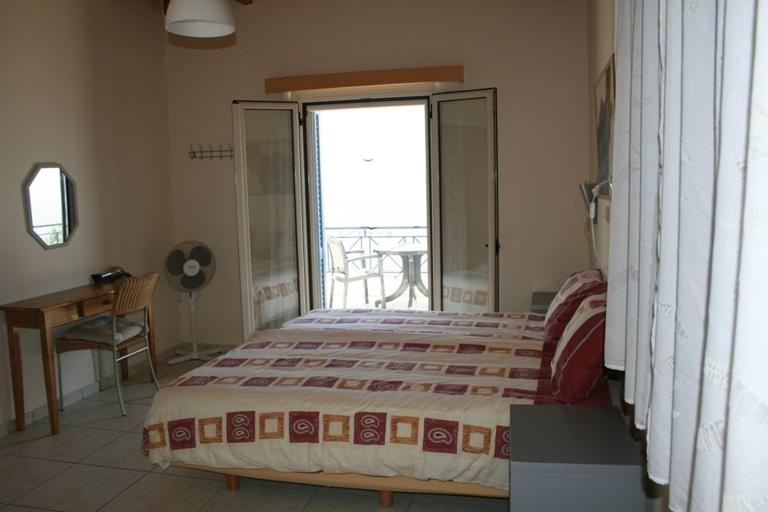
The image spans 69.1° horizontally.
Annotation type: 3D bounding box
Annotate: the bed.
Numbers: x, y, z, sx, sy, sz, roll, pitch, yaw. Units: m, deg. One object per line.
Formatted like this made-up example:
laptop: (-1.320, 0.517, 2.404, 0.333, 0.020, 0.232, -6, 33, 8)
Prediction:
bed: (-0.256, 0.828, 3.210, 1.576, 0.364, 1.600, 1, 6, 16)

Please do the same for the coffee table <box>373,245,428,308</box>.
coffee table: (0.369, 0.269, 7.490, 0.941, 0.718, 0.919, -2, 4, 34)

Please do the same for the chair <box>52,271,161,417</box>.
chair: (-2.282, 0.673, 4.653, 0.741, 1.043, 0.734, 4, 6, 30)

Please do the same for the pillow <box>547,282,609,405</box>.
pillow: (1.068, 0.508, 3.077, 0.289, 0.472, 0.499, 1, 13, 18)

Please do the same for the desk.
desk: (-2.428, 0.788, 4.360, 0.362, 0.759, 1.017, 3, 9, 12)

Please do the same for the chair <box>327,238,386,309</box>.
chair: (-0.362, 0.235, 7.521, 0.715, 0.937, 0.770, 7, 10, 43)

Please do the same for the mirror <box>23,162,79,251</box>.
mirror: (-2.686, -0.405, 4.502, 0.089, 0.671, 0.476, 0, 13, 13)
